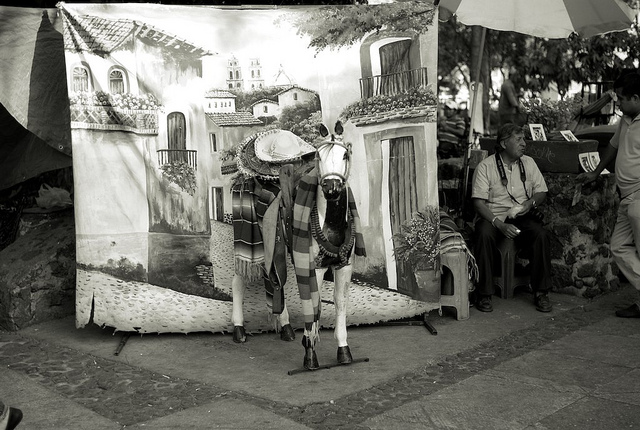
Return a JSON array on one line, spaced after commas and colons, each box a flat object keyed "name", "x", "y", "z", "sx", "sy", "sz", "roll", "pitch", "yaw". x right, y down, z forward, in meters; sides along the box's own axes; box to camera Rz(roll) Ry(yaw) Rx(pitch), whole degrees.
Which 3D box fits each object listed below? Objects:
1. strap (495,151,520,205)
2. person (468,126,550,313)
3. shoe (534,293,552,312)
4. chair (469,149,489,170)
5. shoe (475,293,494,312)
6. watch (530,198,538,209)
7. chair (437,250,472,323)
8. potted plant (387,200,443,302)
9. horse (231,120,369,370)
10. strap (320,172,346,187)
[{"name": "strap", "x": 2.259, "y": -0.519, "z": 6.765, "sx": 0.253, "sy": 0.478, "sz": 0.083, "roll": -16, "pitch": -7, "yaw": 13}, {"name": "person", "x": 2.351, "y": 0.031, "z": 6.791, "sx": 0.991, "sy": 2.171, "sz": 0.852, "roll": 3, "pitch": 14, "yaw": 15}, {"name": "shoe", "x": 2.759, "y": 1.052, "z": 6.784, "sx": 0.214, "sy": 0.198, "sz": 0.256, "roll": 2, "pitch": 14, "yaw": 11}, {"name": "chair", "x": 2.189, "y": -0.804, "z": 7.695, "sx": 0.313, "sy": 0.327, "sz": 0.232, "roll": 3, "pitch": 10, "yaw": 17}, {"name": "shoe", "x": 2.010, "y": 1.064, "z": 6.779, "sx": 0.217, "sy": 0.187, "sz": 0.183, "roll": 6, "pitch": 15, "yaw": 24}, {"name": "watch", "x": 2.676, "y": -0.126, "z": 6.938, "sx": 0.105, "sy": 0.123, "sz": 0.076, "roll": 1, "pitch": 6, "yaw": 26}, {"name": "chair", "x": 1.587, "y": 0.819, "z": 6.491, "sx": 0.360, "sy": 0.804, "sz": 0.175, "roll": 2, "pitch": 14, "yaw": 12}, {"name": "potted plant", "x": 1.221, "y": 0.571, "z": 6.488, "sx": 0.585, "sy": 0.887, "sz": 0.532, "roll": -10, "pitch": -5, "yaw": 24}, {"name": "horse", "x": -0.178, "y": 0.336, "z": 5.660, "sx": 0.847, "sy": 2.198, "sz": 2.459, "roll": -2, "pitch": 1, "yaw": -29}, {"name": "strap", "x": 0.114, "y": -0.293, "z": 4.841, "sx": 0.124, "sy": 0.033, "sz": 0.137, "roll": -9, "pitch": -24, "yaw": 15}]
